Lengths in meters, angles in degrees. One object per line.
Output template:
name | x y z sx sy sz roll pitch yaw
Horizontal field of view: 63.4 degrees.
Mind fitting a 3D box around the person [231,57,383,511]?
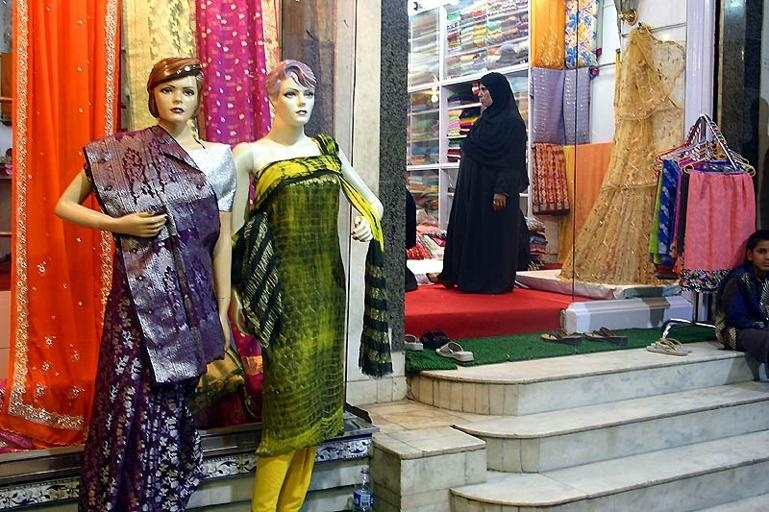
person | -0.310 0.135 2.669 0.654 1.894 0.416 -5 11 -13

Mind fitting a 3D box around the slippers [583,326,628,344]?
slippers | 1.504 0.514 4.245 0.235 0.086 0.136 3 2 18

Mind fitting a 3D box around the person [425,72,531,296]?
person | 0.778 -0.441 4.954 0.690 1.391 0.491 1 11 17

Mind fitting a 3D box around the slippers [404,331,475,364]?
slippers | 0.365 0.562 3.842 0.190 0.079 0.300 -1 9 -25

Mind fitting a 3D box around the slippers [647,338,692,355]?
slippers | 1.866 0.578 4.121 0.122 0.056 0.174 2 5 -5

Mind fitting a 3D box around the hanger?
hanger | 2.237 -0.761 4.377 0.510 0.247 0.509 -3 -8 44

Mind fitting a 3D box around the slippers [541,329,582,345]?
slippers | 1.169 0.538 4.106 0.204 0.068 0.117 7 2 15
